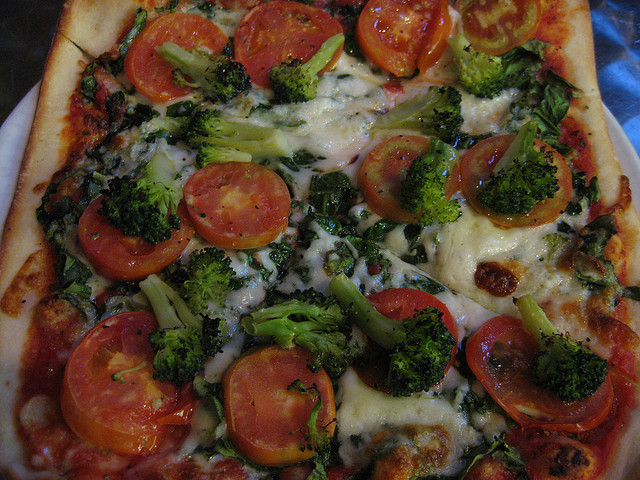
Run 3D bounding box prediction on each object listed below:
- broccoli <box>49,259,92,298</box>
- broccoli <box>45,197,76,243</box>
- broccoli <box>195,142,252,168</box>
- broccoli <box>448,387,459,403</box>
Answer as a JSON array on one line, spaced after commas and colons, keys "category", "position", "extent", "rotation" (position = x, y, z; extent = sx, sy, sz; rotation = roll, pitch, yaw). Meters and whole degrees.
[{"category": "broccoli", "position": [-1.976, 0.331, 5.432], "extent": [0.275, 0.107, 0.299], "rotation": [-10, 80, 4]}, {"category": "broccoli", "position": [-2.147, -0.172, 5.708], "extent": [0.218, 0.095, 0.376], "rotation": [17, 82, 6]}, {"category": "broccoli", "position": [-0.799, -0.686, 5.589], "extent": [0.362, 0.160, 0.228], "rotation": [9, 56, -4]}, {"category": "broccoli", "position": [0.992, 1.161, 5.078], "extent": [0.067, 0.027, 0.090], "rotation": [15, 73, 34]}]
